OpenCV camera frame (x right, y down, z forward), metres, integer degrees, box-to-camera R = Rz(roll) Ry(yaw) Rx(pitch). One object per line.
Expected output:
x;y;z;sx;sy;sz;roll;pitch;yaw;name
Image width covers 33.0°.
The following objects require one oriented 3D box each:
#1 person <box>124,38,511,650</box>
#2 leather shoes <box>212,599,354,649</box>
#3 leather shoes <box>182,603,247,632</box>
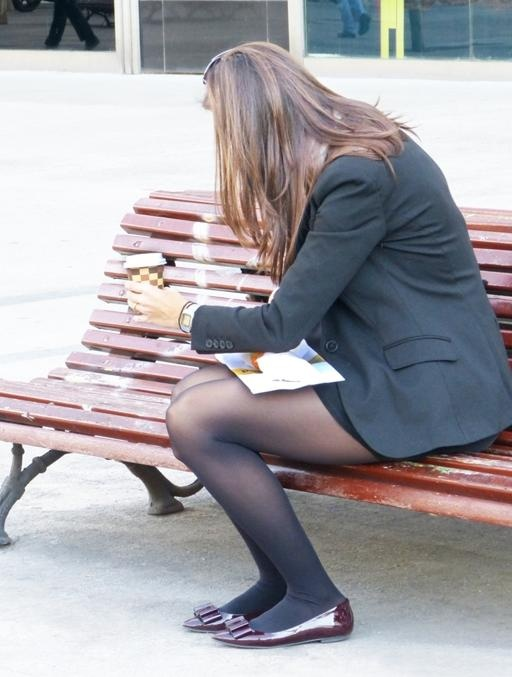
0.190;0.005;2.063;0.897;1.424;0.388;1;3;-3;person
0.077;0.671;2.024;0.353;0.085;0.103;-1;0;-14;leather shoes
-0.102;0.671;2.057;0.144;0.036;0.065;2;8;-4;leather shoes
